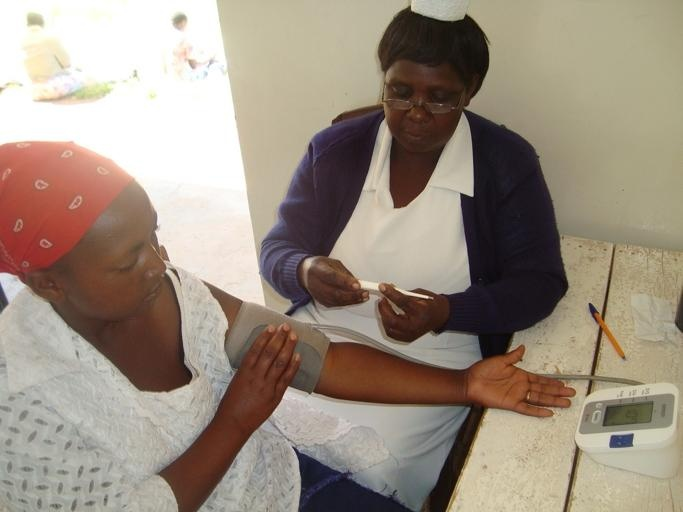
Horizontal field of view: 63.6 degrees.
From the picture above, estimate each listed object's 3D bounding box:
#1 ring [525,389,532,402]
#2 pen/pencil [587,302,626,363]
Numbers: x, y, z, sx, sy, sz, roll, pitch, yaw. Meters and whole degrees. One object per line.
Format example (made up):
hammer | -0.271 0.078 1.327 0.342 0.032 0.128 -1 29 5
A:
ring | 0.450 0.336 1.322 0.006 0.017 0.019 16 70 -14
pen/pencil | 0.711 0.202 1.482 0.022 0.019 0.166 -8 43 -5
